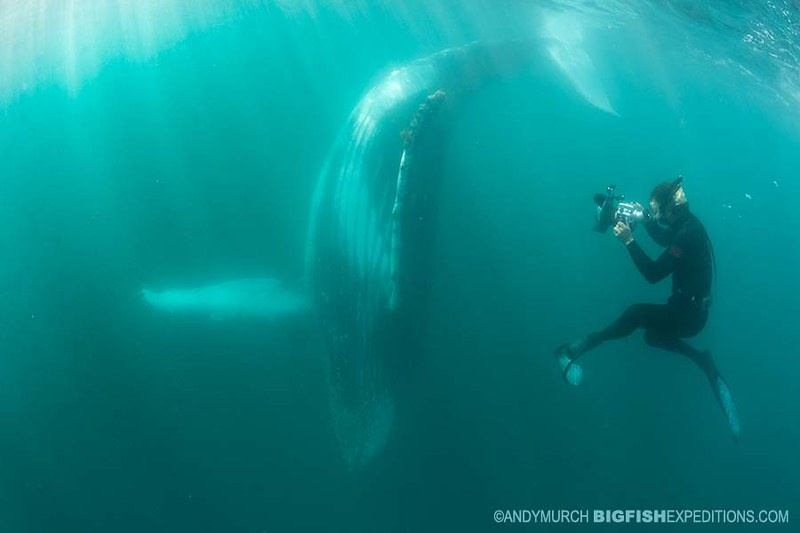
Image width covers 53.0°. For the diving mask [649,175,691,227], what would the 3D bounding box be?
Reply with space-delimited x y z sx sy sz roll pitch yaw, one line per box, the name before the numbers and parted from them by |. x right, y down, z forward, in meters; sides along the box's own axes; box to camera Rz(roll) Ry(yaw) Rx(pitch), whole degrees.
diving mask | 3.676 -0.875 11.038 0.480 0.665 0.631 -4 84 -16

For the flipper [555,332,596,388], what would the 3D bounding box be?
flipper | 2.359 1.336 11.272 0.611 0.557 0.647 8 11 1

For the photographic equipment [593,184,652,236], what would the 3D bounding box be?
photographic equipment | 3.081 -0.788 11.124 0.650 0.642 0.873 -15 14 -37

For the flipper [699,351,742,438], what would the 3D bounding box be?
flipper | 4.399 1.681 11.228 0.311 0.170 1.467 -18 82 -3

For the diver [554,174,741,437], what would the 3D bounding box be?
diver | 3.615 0.602 11.566 3.132 3.196 2.019 -7 81 -26
